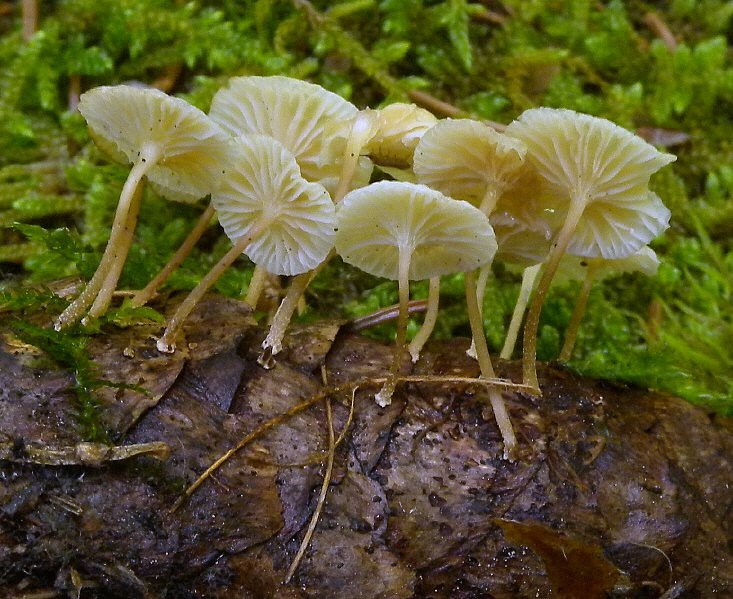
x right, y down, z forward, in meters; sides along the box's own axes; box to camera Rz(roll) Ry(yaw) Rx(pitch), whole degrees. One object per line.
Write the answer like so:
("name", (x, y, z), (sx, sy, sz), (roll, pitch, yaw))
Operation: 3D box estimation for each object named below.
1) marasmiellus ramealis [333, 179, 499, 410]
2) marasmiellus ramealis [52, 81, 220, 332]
("marasmiellus ramealis", (0.104, -0.128, 2.483), (0.461, 0.571, 0.426), (36, 40, 15))
("marasmiellus ramealis", (-0.825, -0.399, 2.503), (0.500, 0.644, 0.586), (36, 40, 15))
